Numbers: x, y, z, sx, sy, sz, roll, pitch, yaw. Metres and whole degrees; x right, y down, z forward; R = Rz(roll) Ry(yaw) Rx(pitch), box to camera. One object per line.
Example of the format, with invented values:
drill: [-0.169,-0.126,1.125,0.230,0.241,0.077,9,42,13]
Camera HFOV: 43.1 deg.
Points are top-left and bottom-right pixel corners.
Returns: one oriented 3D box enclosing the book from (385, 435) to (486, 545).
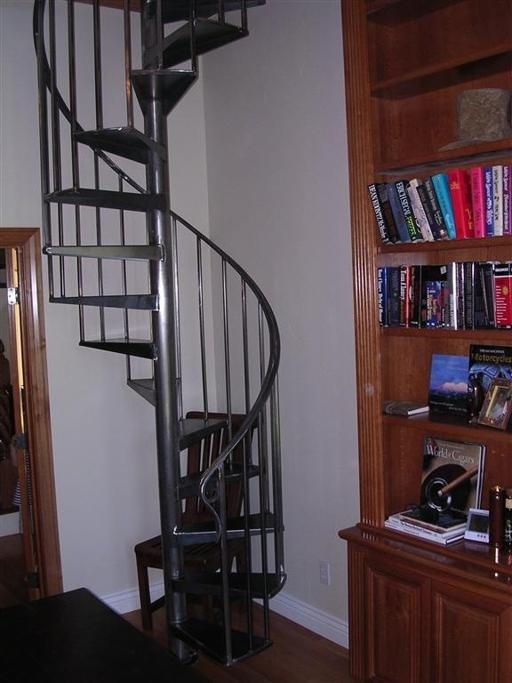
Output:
book: [0.701,0.513,2.475,0.315,0.384,0.387,-1,4,-32]

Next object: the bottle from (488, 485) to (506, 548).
bottle: [0.800,0.591,2.160,0.057,0.206,0.136,-2,-7,19]
